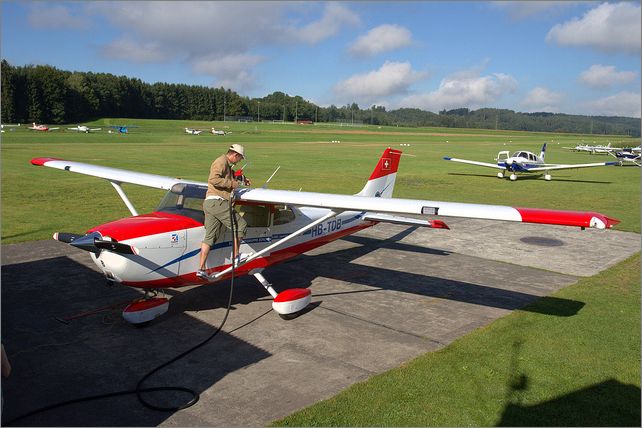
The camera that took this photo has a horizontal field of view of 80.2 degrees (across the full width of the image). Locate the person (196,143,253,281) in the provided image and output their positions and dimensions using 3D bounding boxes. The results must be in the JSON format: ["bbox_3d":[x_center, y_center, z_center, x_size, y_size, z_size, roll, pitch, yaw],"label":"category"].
[{"bbox_3d":[-1.926,-0.065,7.498,0.771,2.566,1.281,6,18,11],"label":"person"}]

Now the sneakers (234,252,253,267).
[{"bbox_3d":[-1.662,0.926,7.950,0.149,0.142,0.426,11,27,43],"label":"sneakers"}]

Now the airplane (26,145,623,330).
[{"bbox_3d":[-1.399,0.180,8.627,9.392,3.520,4.556,2,16,2],"label":"airplane"}]
